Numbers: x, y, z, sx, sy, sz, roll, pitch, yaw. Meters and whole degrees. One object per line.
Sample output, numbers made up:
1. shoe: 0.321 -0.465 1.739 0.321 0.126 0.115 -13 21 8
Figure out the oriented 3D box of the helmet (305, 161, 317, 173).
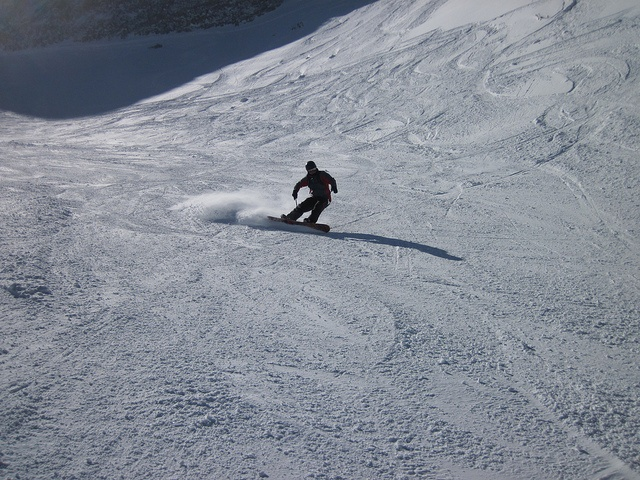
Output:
1. helmet: -0.224 -1.866 18.288 0.244 0.339 0.320 -20 31 -2
